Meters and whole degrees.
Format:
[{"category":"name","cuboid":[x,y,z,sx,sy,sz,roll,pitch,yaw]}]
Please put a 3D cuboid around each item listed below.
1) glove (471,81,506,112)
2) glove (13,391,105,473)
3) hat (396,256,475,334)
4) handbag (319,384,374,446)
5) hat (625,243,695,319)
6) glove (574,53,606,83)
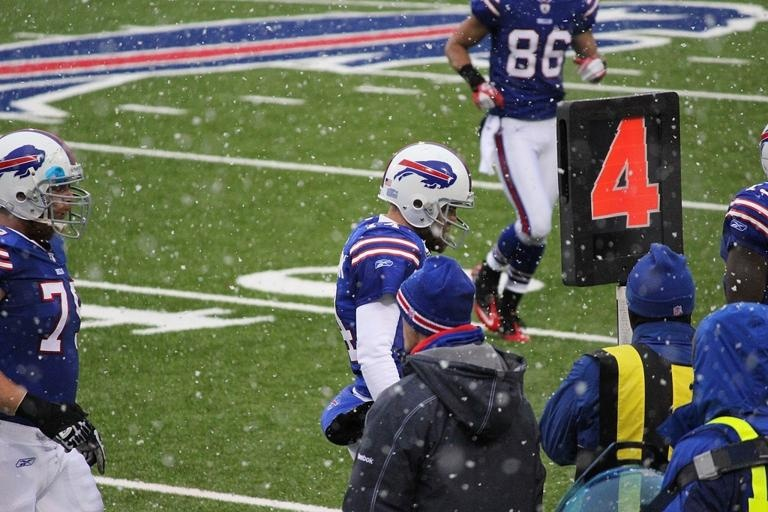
[{"category":"glove","cuboid":[0.901,-1.335,13.837,0.204,0.155,0.272,-15,-33,36]},{"category":"glove","cuboid":[-2.311,1.260,11.614,0.597,0.329,0.612,34,-8,17]},{"category":"hat","cuboid":[0.354,0.261,11.024,0.576,0.432,0.429,14,32,21]},{"category":"handbag","cuboid":[-0.281,1.158,11.658,0.472,0.217,0.338,-40,20,-1]},{"category":"hat","cuboid":[1.936,0.174,11.425,0.485,0.476,0.507,2,13,4]},{"category":"glove","cuboid":[1.821,-1.596,13.885,0.268,0.218,0.200,-7,8,-11]}]
